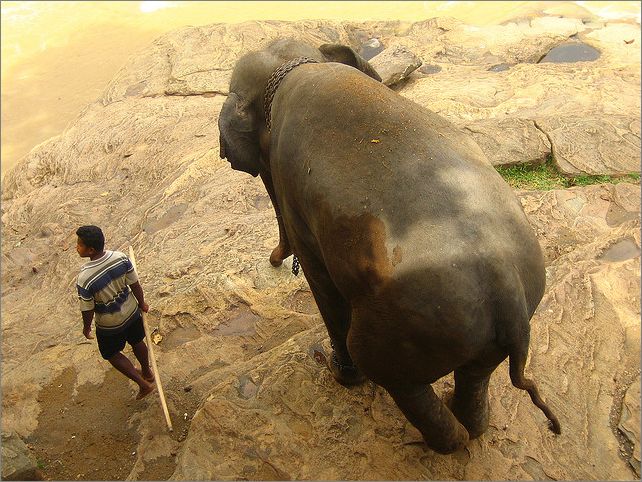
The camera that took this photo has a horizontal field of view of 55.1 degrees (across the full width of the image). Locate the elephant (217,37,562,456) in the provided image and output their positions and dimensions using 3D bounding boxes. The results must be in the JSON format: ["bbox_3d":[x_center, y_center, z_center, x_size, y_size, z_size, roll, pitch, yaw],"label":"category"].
[{"bbox_3d":[0.388,-0.029,5.470,1.656,2.956,3.554,-27,43,-22],"label":"elephant"}]

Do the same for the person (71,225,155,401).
[{"bbox_3d":[-1.776,0.617,5.220,0.507,1.493,0.716,-9,41,-2],"label":"person"}]
